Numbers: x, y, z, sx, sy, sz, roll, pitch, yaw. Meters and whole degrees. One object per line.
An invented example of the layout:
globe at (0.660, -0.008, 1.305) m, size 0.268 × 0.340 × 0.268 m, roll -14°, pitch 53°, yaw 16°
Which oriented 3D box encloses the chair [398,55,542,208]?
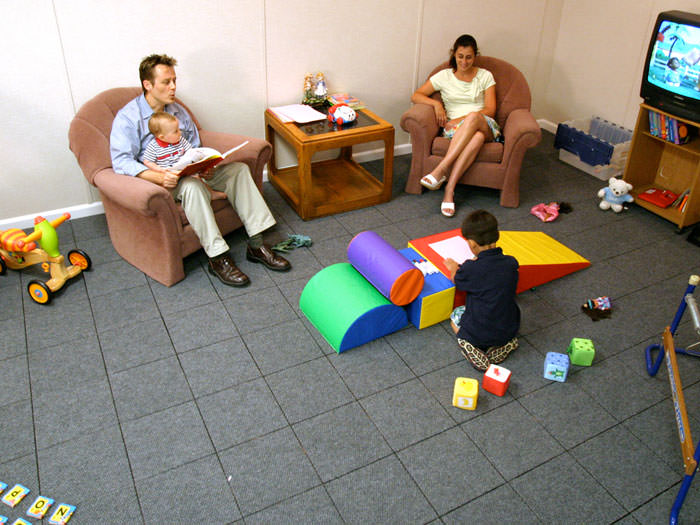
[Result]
chair at (1.132, -1.214, 4.505) m, size 1.237 × 1.102 × 1.152 m, roll 14°, pitch 28°, yaw 26°

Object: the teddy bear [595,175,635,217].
teddy bear at (2.257, -0.558, 4.232) m, size 0.249 × 0.261 × 0.185 m, roll 36°, pitch 52°, yaw 23°

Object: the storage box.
storage box at (2.293, -1.070, 4.682) m, size 0.602 × 0.466 × 0.754 m, roll -12°, pitch 33°, yaw -20°

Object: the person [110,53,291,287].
person at (-1.108, -0.652, 3.570) m, size 1.252 × 1.412 × 0.907 m, roll 27°, pitch 40°, yaw 22°

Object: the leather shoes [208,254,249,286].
leather shoes at (-0.832, 0.039, 3.491) m, size 0.351 × 0.172 × 0.148 m, roll 28°, pitch 42°, yaw 31°

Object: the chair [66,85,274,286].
chair at (-1.287, -0.690, 3.732) m, size 1.328 × 1.062 × 1.300 m, roll -17°, pitch 36°, yaw -25°

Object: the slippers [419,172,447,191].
slippers at (0.695, -0.653, 4.140) m, size 0.207 × 0.073 × 0.138 m, roll -19°, pitch 41°, yaw -34°

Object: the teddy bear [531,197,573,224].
teddy bear at (1.690, -0.439, 4.162) m, size 0.254 × 0.095 × 0.222 m, roll -17°, pitch 32°, yaw -27°

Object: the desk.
desk at (-0.238, -0.896, 4.429) m, size 1.041 × 0.815 × 1.057 m, roll -14°, pitch 38°, yaw -24°

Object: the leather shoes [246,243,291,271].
leather shoes at (-0.578, -0.044, 3.620) m, size 0.336 × 0.134 × 0.145 m, roll 19°, pitch 40°, yaw 17°

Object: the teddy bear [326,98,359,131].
teddy bear at (-0.070, -1.219, 4.135) m, size 0.224 × 0.145 × 0.310 m, roll -13°, pitch 48°, yaw -11°

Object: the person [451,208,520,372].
person at (0.772, 0.163, 2.812) m, size 0.472 × 0.786 × 0.438 m, roll 17°, pitch 39°, yaw 21°
